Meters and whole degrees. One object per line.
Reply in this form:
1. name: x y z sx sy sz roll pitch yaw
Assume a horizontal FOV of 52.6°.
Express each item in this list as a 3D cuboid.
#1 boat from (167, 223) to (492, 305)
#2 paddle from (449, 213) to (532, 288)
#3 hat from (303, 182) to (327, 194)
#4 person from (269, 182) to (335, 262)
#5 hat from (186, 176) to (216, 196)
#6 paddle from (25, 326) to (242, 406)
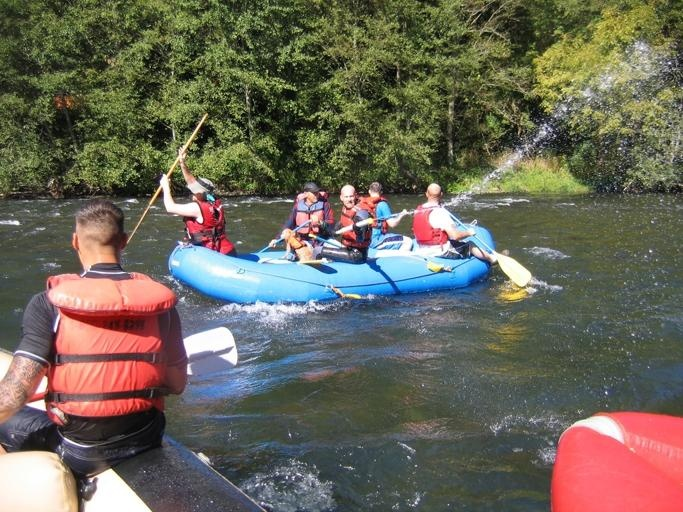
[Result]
1. boat: -0.212 0.254 9.632 3.262 0.678 1.572 -3 7 -16
2. paddle: 2.390 -0.056 11.084 0.206 0.308 2.174 25 18 -36
3. hat: -0.452 -0.991 10.339 0.245 0.127 0.183 -3 4 22
4. person: -0.451 -0.414 10.367 0.926 1.421 1.165 -4 -11 20
5. hat: -1.892 -0.921 9.249 0.281 0.211 0.209 -3 25 14
6. paddle: -1.689 0.912 6.403 2.226 0.607 0.456 -12 -3 -27
